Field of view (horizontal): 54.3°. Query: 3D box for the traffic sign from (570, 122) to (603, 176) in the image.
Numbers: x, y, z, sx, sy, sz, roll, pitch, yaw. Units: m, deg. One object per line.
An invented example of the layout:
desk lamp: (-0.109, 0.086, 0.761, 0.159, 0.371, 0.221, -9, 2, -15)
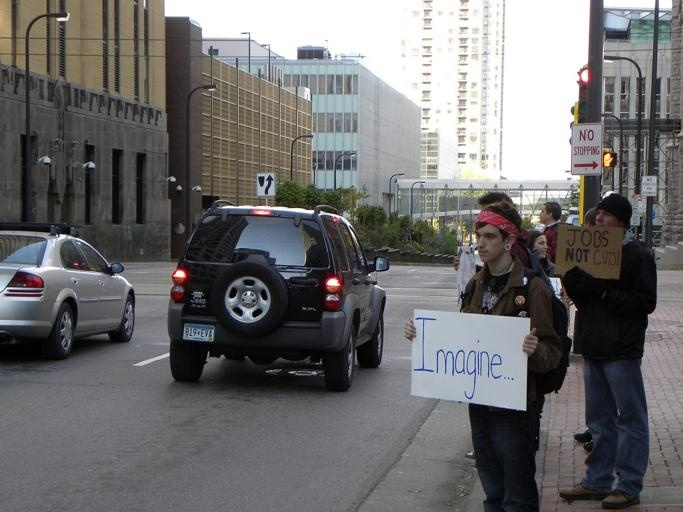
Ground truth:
traffic sign: (3.693, -1.575, 9.901, 0.450, 0.921, 0.079, 2, -22, 20)

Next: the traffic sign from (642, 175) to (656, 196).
traffic sign: (14.643, -3.293, 31.288, 0.837, 1.088, 0.139, -6, 9, -36)

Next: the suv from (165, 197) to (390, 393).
suv: (-0.634, 0.476, 9.618, 1.772, 1.865, 3.164, 1, 3, 11)

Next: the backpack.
backpack: (1.245, 0.459, 3.957, 0.256, 0.765, 0.381, 1, 2, 26)
